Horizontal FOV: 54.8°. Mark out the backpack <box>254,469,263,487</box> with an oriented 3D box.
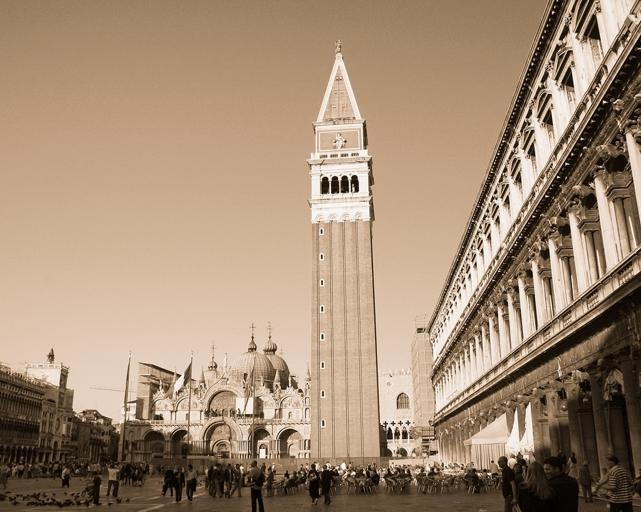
[{"bbox_3d":[-2.385,8.454,23.655,0.450,0.689,0.364,7,-22,-17],"label":"backpack"}]
